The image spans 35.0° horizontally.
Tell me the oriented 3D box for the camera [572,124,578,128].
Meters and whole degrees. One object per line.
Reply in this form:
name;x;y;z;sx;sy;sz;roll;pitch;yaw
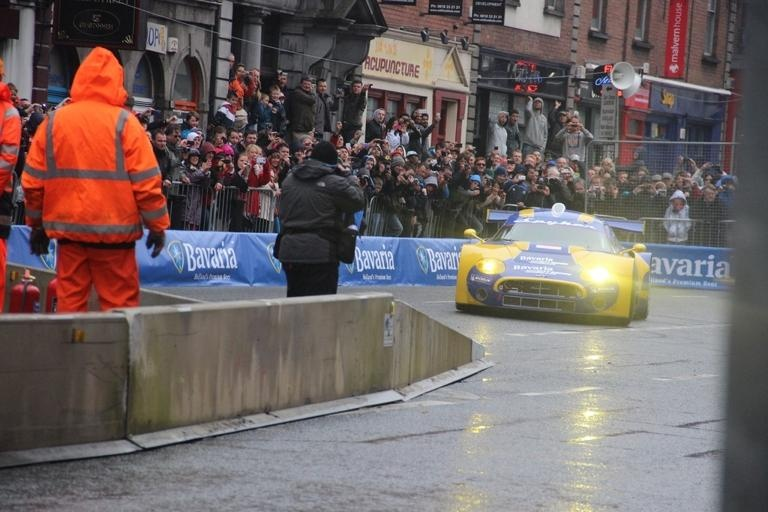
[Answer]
camera;5.150;-3.501;32.810;0.092;0.088;0.024;-1;8;0

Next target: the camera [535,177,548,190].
camera;3.427;-1.580;26.529;0.218;0.295;0.296;-5;-9;10

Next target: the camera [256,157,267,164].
camera;-2.110;-1.643;20.826;0.104;0.136;0.248;4;7;15

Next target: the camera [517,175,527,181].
camera;2.920;-1.704;26.254;0.123;0.133;0.167;3;-12;-36

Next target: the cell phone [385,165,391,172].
cell phone;0.067;-1.653;22.943;0.095;0.128;0.172;0;4;20

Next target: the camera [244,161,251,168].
camera;-2.295;-1.529;20.255;0.087;0.119;0.033;-3;3;-19

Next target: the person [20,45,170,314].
person;-2.459;-0.492;10.300;0.947;2.571;1.376;2;-1;-32

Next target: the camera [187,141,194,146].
camera;-3.247;-1.894;20.425;0.074;0.071;0.075;1;12;3
